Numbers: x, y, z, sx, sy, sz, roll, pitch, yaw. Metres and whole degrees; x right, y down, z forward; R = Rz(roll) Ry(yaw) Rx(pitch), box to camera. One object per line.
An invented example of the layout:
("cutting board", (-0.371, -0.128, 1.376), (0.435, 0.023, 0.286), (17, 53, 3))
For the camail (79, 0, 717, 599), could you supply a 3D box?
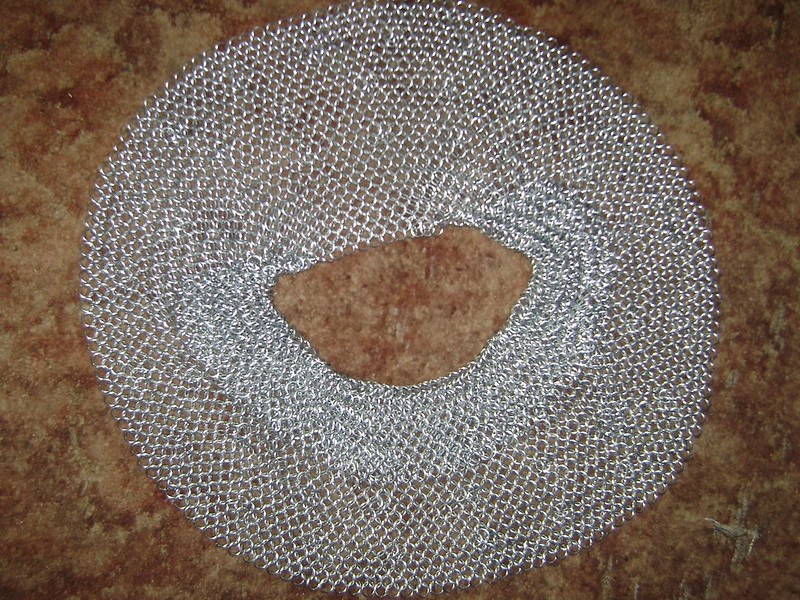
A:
("camail", (0.004, -0.009, 2.040), (1.267, 0.073, 1.193), (-14, 86, -2))
